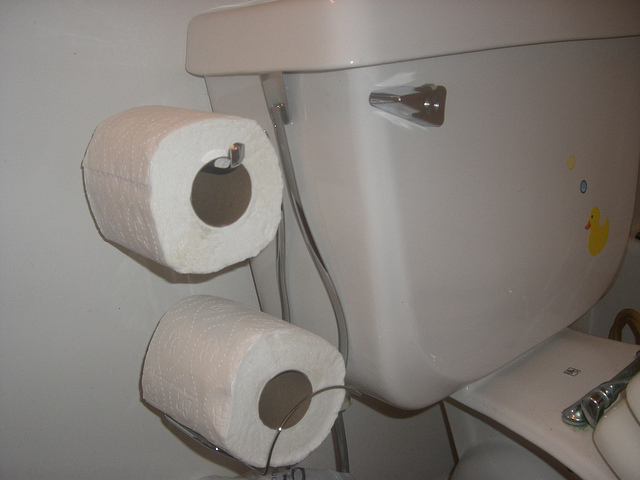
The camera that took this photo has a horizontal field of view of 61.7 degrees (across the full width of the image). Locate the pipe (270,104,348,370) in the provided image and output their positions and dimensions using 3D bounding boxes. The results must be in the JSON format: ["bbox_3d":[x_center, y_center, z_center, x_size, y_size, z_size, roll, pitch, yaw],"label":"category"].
[{"bbox_3d":[-0.006,0.006,0.659,0.076,0.087,0.328,-22,-51,-35],"label":"pipe"}]

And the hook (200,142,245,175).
[{"bbox_3d":[-0.082,-0.079,0.550,0.023,0.036,0.051,-54,5,-28],"label":"hook"}]

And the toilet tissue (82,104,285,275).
[{"bbox_3d":[-0.145,-0.069,0.591,0.151,0.201,0.203,-18,-62,-37],"label":"toilet tissue"}]
